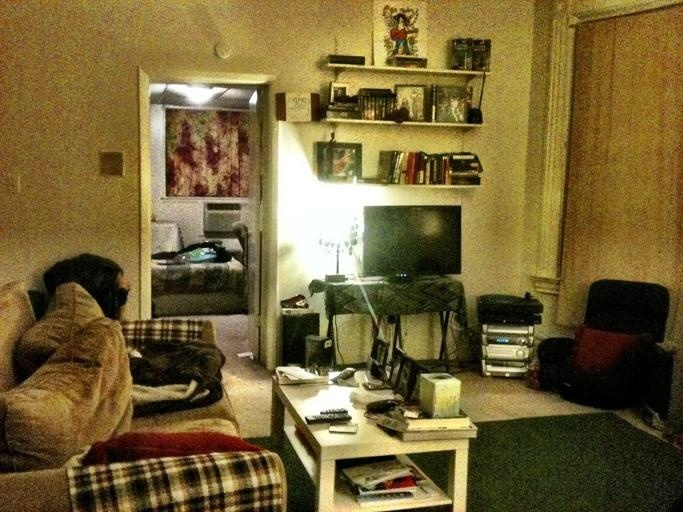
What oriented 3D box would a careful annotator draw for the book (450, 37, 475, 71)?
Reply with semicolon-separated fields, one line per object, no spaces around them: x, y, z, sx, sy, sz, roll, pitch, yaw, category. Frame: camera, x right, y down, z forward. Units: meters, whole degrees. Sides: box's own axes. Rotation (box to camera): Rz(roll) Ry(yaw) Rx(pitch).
1.108;-1.818;5.597;0.274;0.285;0.266;3;7;12;book

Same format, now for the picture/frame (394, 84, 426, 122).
0.603;-1.368;5.521;0.413;0.434;0.030;-1;0;-16;picture/frame

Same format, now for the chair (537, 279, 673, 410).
2.253;0.618;4.939;0.978;0.980;1.062;1;1;-36;chair

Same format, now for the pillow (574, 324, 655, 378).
2.058;0.738;4.695;0.519;0.304;0.252;3;6;42;pillow

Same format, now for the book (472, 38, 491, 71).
1.283;-1.838;5.661;0.189;0.275;0.188;13;25;41;book

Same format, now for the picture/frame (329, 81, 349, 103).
-0.019;-1.403;5.329;0.160;0.203;0.212;-1;5;-1;picture/frame

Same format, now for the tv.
0.634;-0.132;5.566;0.957;0.629;0.070;-1;1;-18;tv

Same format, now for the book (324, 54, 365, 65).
0.050;-1.662;5.242;0.197;0.043;0.133;0;6;-17;book

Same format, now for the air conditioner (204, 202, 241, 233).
-1.827;-0.570;9.404;0.567;0.487;0.295;0;-1;-18;air conditioner

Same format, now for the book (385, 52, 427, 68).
0.592;-1.717;5.455;0.342;0.128;0.116;-2;5;-14;book

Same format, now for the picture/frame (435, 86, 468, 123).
0.998;-1.398;5.700;0.396;0.351;0.228;16;22;42;picture/frame

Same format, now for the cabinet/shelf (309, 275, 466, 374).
0.440;0.612;5.475;1.368;0.852;0.454;-3;5;-17;cabinet/shelf

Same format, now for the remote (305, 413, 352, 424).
-0.064;0.840;3.175;0.154;0.025;0.081;-1;2;-7;remote

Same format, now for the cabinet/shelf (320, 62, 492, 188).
0.513;-1.174;5.511;1.285;0.789;0.207;0;2;-11;cabinet/shelf
